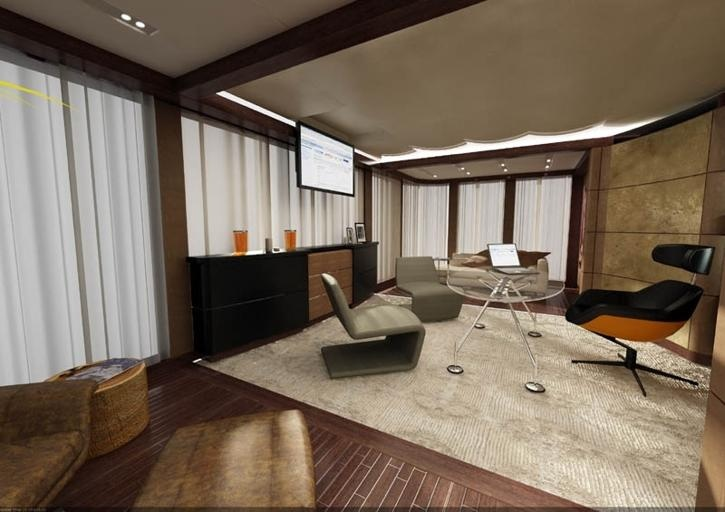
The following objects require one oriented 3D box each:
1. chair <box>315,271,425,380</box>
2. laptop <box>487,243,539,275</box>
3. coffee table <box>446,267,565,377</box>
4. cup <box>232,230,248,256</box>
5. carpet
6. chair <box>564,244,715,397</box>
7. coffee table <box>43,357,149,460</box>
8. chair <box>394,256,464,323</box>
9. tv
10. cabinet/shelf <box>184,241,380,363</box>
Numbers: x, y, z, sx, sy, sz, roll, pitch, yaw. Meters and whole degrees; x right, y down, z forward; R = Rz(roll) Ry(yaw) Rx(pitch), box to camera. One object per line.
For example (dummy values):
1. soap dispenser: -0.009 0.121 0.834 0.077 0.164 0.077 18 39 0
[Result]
1. chair: 0.084 0.708 5.008 1.134 1.039 0.733 -3 15 -12
2. laptop: 2.038 0.048 6.051 0.511 0.295 0.470 -2 7 -25
3. coffee table: 1.888 1.017 6.056 1.671 0.996 1.634 4 3 43
4. cup: -1.486 -0.160 5.403 0.132 0.286 0.265 -5 6 -20
5. carpet: 1.125 1.433 5.336 5.327 0.868 3.214 -1 6 21
6. chair: 3.010 0.651 4.963 1.455 1.547 1.365 -1 5 14
7. coffee table: -2.290 1.281 4.033 0.798 0.539 0.777 1 5 6
8. chair: 0.950 0.477 6.708 0.845 0.840 0.996 -1 6 -12
9. tv: -0.578 -1.435 6.453 0.093 0.606 1.080 4 4 27
10. cabinet/shelf: -0.751 0.383 6.802 0.890 1.251 3.978 6 10 28
